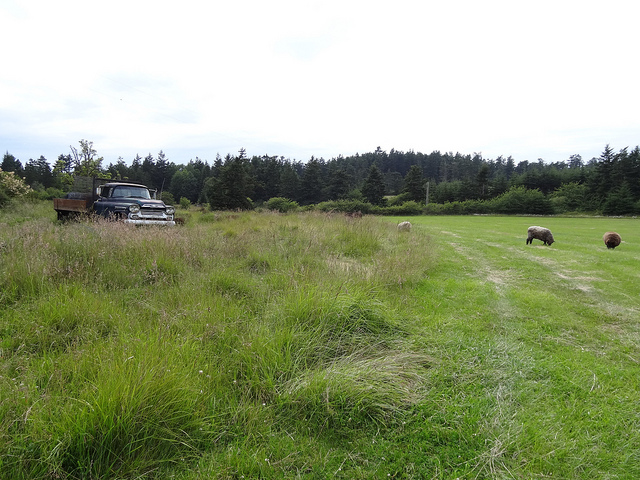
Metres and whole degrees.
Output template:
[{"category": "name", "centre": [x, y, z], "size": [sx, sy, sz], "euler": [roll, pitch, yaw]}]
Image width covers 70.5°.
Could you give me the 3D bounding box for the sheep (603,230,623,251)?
[{"category": "sheep", "centre": [9.304, 0.019, 14.466], "size": [0.383, 0.473, 0.803], "euler": [7, 20, 25]}]

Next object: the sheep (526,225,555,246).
[{"category": "sheep", "centre": [7.514, -0.109, 15.525], "size": [0.808, 0.582, 0.722], "euler": [7, 8, 26]}]

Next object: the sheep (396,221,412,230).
[{"category": "sheep", "centre": [3.614, -0.604, 19.640], "size": [0.309, 0.588, 1.126], "euler": [-3, 0, 2]}]

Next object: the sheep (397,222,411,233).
[{"category": "sheep", "centre": [3.550, -0.511, 19.037], "size": [0.773, 0.553, 0.372], "euler": [7, 9, 41]}]
